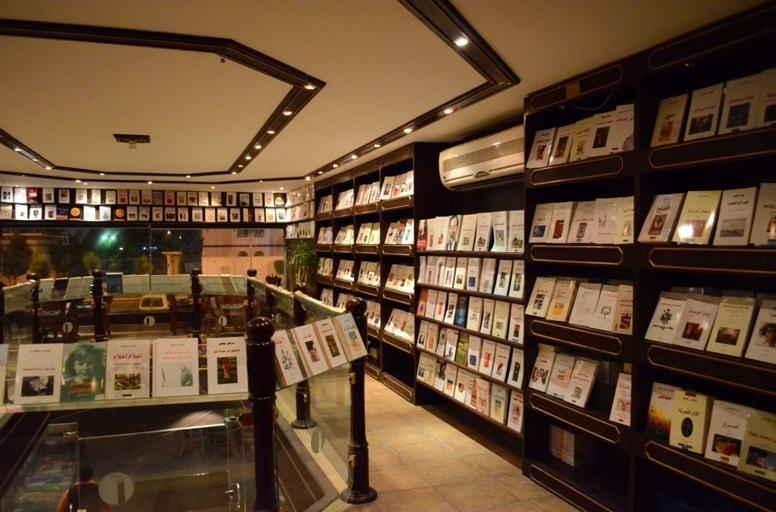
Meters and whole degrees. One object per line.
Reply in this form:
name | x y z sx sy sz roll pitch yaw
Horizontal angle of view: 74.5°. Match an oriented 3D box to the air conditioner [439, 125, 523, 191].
air conditioner | 1.062 -0.951 5.231 0.424 0.431 1.227 -5 1 -40
